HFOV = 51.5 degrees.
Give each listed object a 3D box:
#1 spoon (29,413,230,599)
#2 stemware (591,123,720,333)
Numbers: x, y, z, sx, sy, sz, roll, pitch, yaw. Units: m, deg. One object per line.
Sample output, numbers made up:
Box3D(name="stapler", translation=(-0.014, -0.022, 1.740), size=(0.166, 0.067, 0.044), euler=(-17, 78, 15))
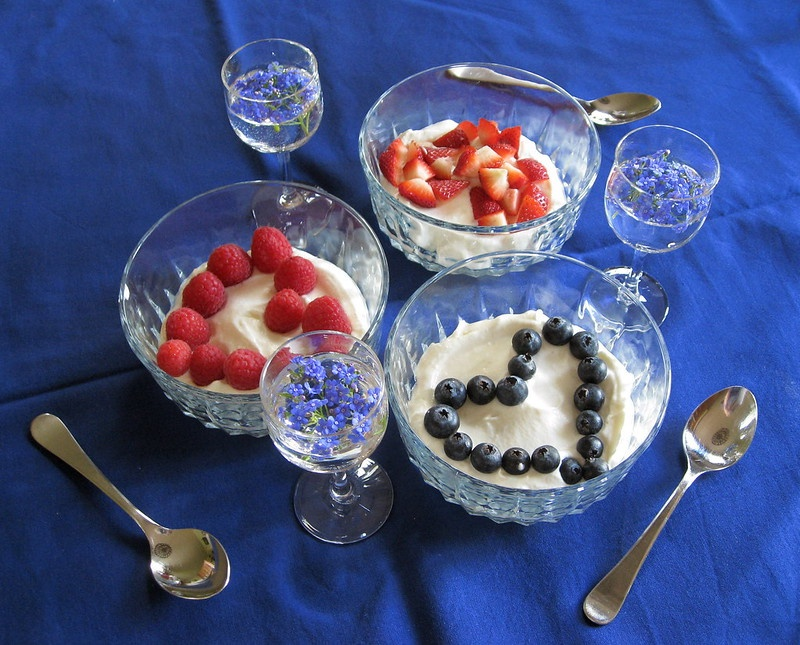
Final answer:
Box3D(name="spoon", translation=(-0.795, 0.538, 2.419), size=(0.752, 0.050, 0.193), euler=(32, 61, 16))
Box3D(name="stemware", translation=(0.856, -0.290, 2.752), size=(0.367, 0.771, 0.466), euler=(7, 58, 8))
